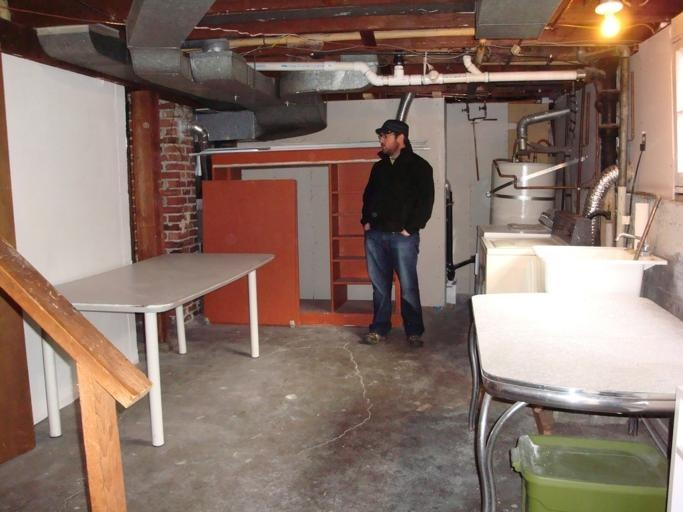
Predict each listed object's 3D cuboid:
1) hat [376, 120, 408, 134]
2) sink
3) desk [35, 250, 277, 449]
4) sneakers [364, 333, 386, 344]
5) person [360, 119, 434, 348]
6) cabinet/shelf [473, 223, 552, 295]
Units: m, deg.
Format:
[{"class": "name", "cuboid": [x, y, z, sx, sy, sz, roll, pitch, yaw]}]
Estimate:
[{"class": "hat", "cuboid": [0.459, -1.137, 5.164, 0.214, 0.084, 0.156, 2, 7, 3]}, {"class": "sink", "cuboid": [1.594, 0.079, 3.733, 0.701, 0.225, 0.647, -1, 14, 0]}, {"class": "desk", "cuboid": [-1.336, 0.569, 4.409, 1.069, 0.980, 1.621, 2, 15, 13]}, {"class": "sneakers", "cuboid": [0.308, 0.760, 5.410, 0.083, 0.077, 0.170, -2, -9, 25]}, {"class": "person", "cuboid": [0.488, -0.224, 5.298, 0.663, 1.960, 0.561, 2, 15, 13]}, {"class": "cabinet/shelf", "cuboid": [1.456, -0.221, 5.003, 0.574, 0.956, 1.041, 1, 3, 16]}]
